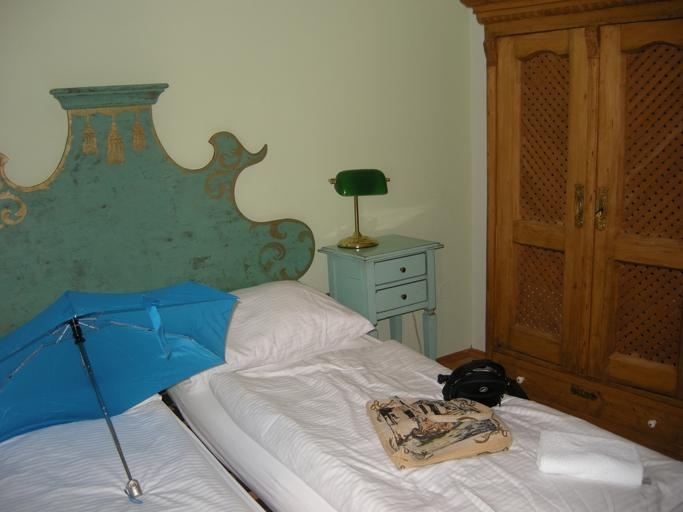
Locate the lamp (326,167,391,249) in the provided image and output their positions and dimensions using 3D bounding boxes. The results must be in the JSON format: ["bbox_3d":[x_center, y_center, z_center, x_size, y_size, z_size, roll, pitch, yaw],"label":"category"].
[{"bbox_3d":[0.079,-0.284,3.287,0.446,0.518,0.335,-5,12,-20],"label":"lamp"}]

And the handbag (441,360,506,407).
[{"bbox_3d":[0.514,0.478,2.298,0.238,0.170,0.214,-2,-1,-8],"label":"handbag"}]

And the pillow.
[{"bbox_3d":[-0.375,0.243,2.926,0.858,0.189,0.654,5,15,-36],"label":"pillow"}]

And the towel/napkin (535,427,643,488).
[{"bbox_3d":[0.822,0.673,1.901,0.209,0.049,0.179,2,7,10],"label":"towel/napkin"}]

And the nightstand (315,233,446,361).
[{"bbox_3d":[0.249,0.318,3.356,0.642,0.783,0.444,-11,15,-30],"label":"nightstand"}]
